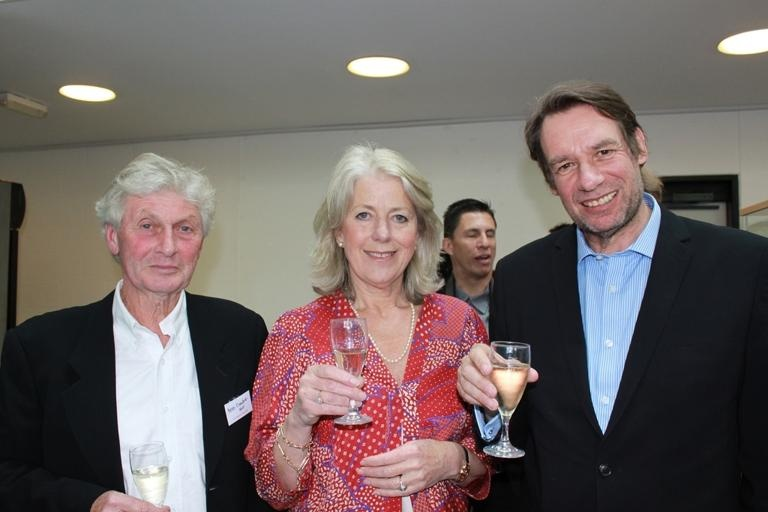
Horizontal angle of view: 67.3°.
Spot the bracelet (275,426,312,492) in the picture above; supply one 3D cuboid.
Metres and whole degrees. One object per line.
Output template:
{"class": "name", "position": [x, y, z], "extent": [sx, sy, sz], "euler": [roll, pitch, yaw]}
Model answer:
{"class": "bracelet", "position": [-0.405, 0.892, 2.552], "extent": [0.179, 0.275, 0.064], "euler": [9, -9, -19]}

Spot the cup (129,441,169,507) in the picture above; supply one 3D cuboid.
{"class": "cup", "position": [-1.002, 0.947, 2.470], "extent": [0.142, 0.286, 0.110], "euler": [-2, -3, -26]}

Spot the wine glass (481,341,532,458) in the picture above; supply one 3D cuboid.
{"class": "wine glass", "position": [0.510, 0.611, 2.470], "extent": [0.165, 0.480, 0.228], "euler": [-2, -3, -29]}

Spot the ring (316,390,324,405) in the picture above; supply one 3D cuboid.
{"class": "ring", "position": [-0.264, 0.593, 2.403], "extent": [0.028, 0.037, 0.047], "euler": [-2, -30, 4]}

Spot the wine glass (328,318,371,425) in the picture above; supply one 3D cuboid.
{"class": "wine glass", "position": [-0.144, 0.502, 2.510], "extent": [0.161, 0.458, 0.237], "euler": [-3, -3, -4]}

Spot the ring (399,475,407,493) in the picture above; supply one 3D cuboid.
{"class": "ring", "position": [0.082, 1.001, 2.522], "extent": [0.020, 0.061, 0.042], "euler": [-14, 8, -11]}
